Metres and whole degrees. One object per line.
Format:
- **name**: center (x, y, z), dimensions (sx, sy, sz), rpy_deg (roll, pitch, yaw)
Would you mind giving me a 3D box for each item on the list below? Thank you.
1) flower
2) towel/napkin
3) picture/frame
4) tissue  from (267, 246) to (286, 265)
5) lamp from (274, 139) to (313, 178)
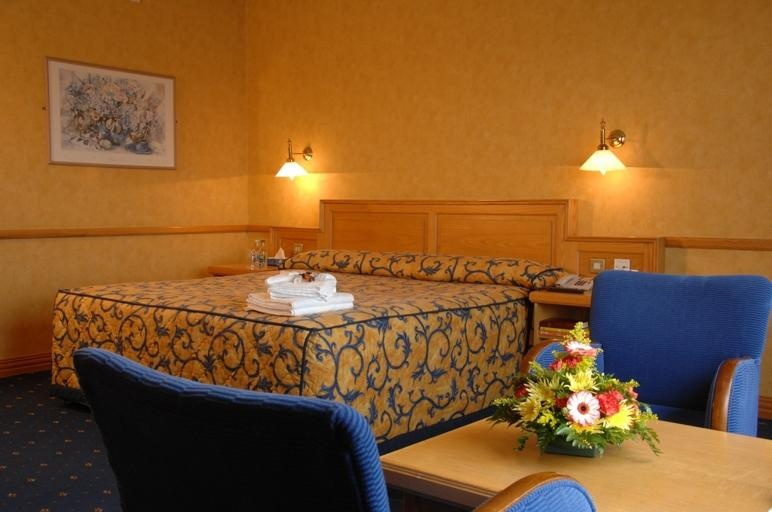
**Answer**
- **flower**: center (0.585, 0.343, 1.774), dimensions (0.431, 0.309, 0.437), rpy_deg (0, 0, 35)
- **towel/napkin**: center (-0.492, 0.210, 3.139), dimensions (0.572, 0.184, 0.490), rpy_deg (4, 4, 36)
- **picture/frame**: center (-2.599, -1.336, 5.086), dimensions (0.048, 0.896, 1.181), rpy_deg (0, 0, 41)
- **tissue **: center (-1.072, 0.003, 5.416), dimensions (0.186, 0.188, 0.190), rpy_deg (4, 0, -16)
- **lamp**: center (-0.925, -0.966, 5.768), dimensions (0.370, 0.445, 0.402), rpy_deg (-4, -3, 41)
